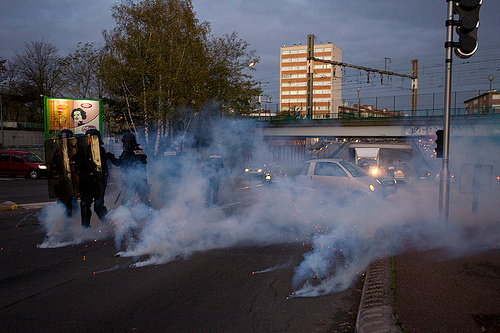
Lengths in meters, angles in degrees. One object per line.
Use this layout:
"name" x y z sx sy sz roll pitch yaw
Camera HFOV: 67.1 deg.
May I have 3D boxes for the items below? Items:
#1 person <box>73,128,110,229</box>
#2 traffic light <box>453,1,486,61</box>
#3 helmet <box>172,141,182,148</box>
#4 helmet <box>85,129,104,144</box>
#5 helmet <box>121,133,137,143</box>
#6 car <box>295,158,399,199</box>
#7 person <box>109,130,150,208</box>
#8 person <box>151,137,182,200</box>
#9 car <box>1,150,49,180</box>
"person" -3.658 0.264 8.789 0.771 2.266 0.495 -6 11 -26
"traffic light" 5.491 -3.496 9.589 0.524 1.358 0.576 1 10 15
"helmet" -2.275 -0.709 11.758 0.279 0.165 0.450 -3 10 -11
"helmet" -3.667 -0.722 8.883 0.375 0.364 0.520 -5 11 -23
"helmet" -2.800 -0.699 8.901 0.279 0.204 0.526 1 10 15
"car" 3.274 0.375 13.214 2.842 1.435 1.621 -1 2 22
"person" -2.758 0.051 8.721 0.747 1.622 0.685 -5 10 -19
"person" -2.397 0.079 11.086 0.788 1.330 1.983 -4 10 -15
"car" -14.371 -0.181 24.071 3.205 1.640 1.126 3 11 24
